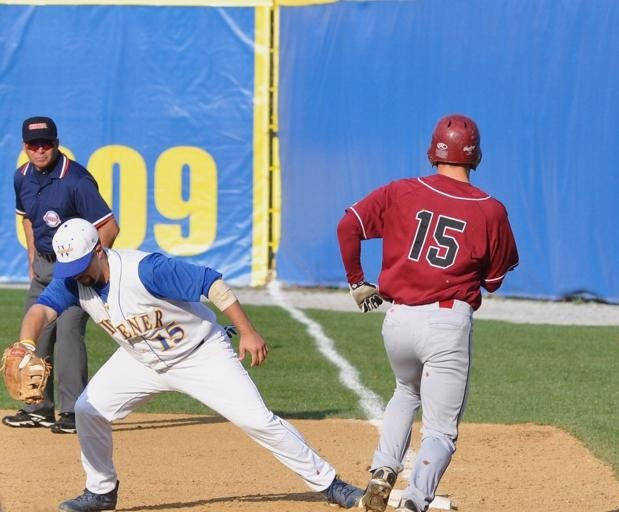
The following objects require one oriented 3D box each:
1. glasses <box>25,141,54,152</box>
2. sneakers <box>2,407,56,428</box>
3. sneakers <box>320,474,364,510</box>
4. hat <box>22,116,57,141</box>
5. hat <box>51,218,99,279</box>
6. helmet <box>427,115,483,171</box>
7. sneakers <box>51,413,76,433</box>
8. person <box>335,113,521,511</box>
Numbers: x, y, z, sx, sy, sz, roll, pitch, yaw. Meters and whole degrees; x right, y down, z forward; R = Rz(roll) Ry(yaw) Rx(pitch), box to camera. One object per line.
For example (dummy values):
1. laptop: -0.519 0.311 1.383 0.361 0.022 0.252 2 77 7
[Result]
1. glasses: -2.508 -1.024 13.744 0.250 0.102 0.079 3 2 -15
2. sneakers: -2.640 1.520 13.992 0.512 0.268 0.193 4 -8 -4
3. sneakers: 0.280 1.968 12.455 0.332 0.217 0.145 24 -14 17
4. hat: -2.513 -1.183 13.834 0.332 0.252 0.268 2 3 -28
5. hat: -1.914 -0.086 11.982 0.298 0.486 0.264 4 -34 25
6. helmet: 1.243 -0.981 12.546 0.390 0.447 0.571 5 15 6
7. sneakers: -2.292 1.542 13.930 0.337 0.165 0.157 5 -6 -19
8. person: 0.983 0.451 12.240 1.412 3.283 0.744 4 3 7
